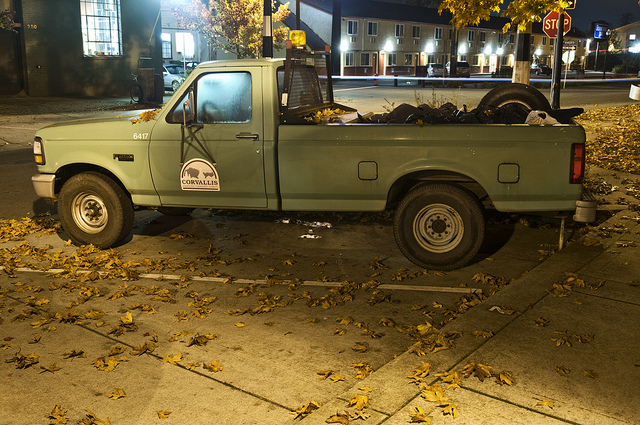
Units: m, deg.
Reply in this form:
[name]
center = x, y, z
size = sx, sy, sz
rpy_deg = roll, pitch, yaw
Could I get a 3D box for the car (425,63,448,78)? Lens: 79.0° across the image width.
[car]
center = 20.771, -25.855, 69.735
size = 3.657, 2.323, 5.869
rpy_deg = 1, 17, 4

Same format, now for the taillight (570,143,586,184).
[taillight]
center = 3.524, -0.681, 5.369
size = 0.322, 0.604, 0.090
rpy_deg = -5, 8, -31

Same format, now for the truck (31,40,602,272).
[truck]
center = -0.181, -1.084, 7.068
size = 8.300, 2.413, 4.311
rpy_deg = 3, 11, 12
